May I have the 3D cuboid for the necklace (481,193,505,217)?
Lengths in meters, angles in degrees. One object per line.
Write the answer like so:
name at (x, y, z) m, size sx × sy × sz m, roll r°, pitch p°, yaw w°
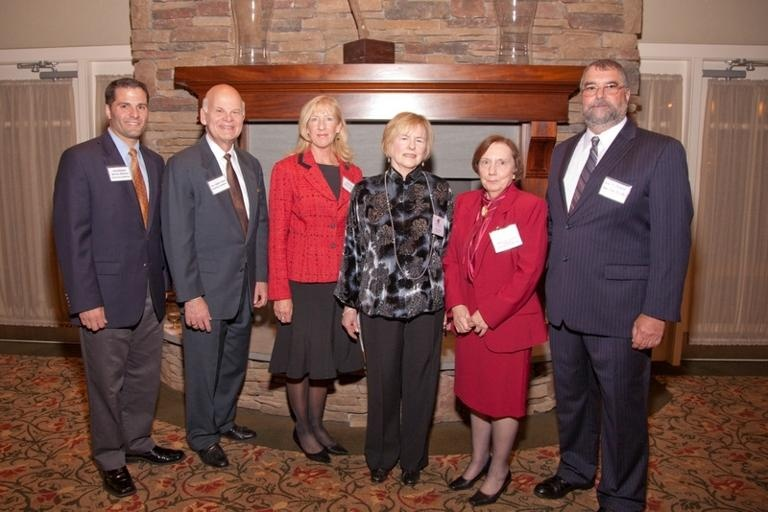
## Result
necklace at (0.683, -0.336, 3.688) m, size 0.118 × 0.127 × 0.149 m, roll -3°, pitch -6°, yaw 25°

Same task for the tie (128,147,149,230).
tie at (-1.664, -0.480, 3.968) m, size 0.088 × 0.675 × 0.068 m, roll -10°, pitch -14°, yaw -20°

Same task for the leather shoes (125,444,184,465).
leather shoes at (-1.606, 1.444, 4.138) m, size 0.421 × 0.167 × 0.154 m, roll -1°, pitch 0°, yaw -3°

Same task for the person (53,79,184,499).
person at (-1.759, 0.201, 3.934) m, size 0.697 × 2.774 × 0.608 m, roll -10°, pitch 16°, yaw -35°

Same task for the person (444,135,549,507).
person at (0.712, 0.433, 3.808) m, size 0.660 × 2.418 × 0.541 m, roll 1°, pitch 13°, yaw 8°

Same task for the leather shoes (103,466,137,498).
leather shoes at (-1.801, 1.535, 3.968) m, size 0.277 × 0.123 × 0.121 m, roll 12°, pitch 12°, yaw 40°

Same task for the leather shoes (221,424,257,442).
leather shoes at (-1.087, 1.367, 4.466) m, size 0.296 × 0.125 × 0.109 m, roll 0°, pitch 9°, yaw 4°

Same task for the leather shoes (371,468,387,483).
leather shoes at (-0.038, 1.518, 3.970) m, size 0.070 × 0.051 × 0.123 m, roll 1°, pitch 4°, yaw 1°

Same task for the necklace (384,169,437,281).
necklace at (0.193, -0.200, 3.842) m, size 0.385 × 0.678 × 0.250 m, roll -1°, pitch 13°, yaw 0°

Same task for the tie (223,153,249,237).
tie at (-1.033, -0.440, 4.064) m, size 0.102 × 0.742 × 0.058 m, roll -13°, pitch -25°, yaw -23°

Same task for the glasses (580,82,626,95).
glasses at (1.373, -1.069, 3.656) m, size 0.253 × 0.085 × 0.081 m, roll 4°, pitch 14°, yaw 18°

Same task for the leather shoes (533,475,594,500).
leather shoes at (1.234, 1.581, 3.992) m, size 0.434 × 0.175 × 0.160 m, roll 1°, pitch 3°, yaw -7°

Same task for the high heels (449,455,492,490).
high heels at (0.625, 1.536, 4.038) m, size 0.406 × 0.169 × 0.133 m, roll -11°, pitch 5°, yaw -21°

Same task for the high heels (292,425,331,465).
high heels at (-0.551, 1.398, 4.291) m, size 0.133 × 0.159 × 0.392 m, roll -2°, pitch 10°, yaw -44°

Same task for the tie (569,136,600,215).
tie at (1.271, -0.504, 3.687) m, size 0.058 × 0.597 × 0.070 m, roll 40°, pitch -20°, yaw -33°

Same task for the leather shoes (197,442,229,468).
leather shoes at (-1.204, 1.443, 4.131) m, size 0.127 × 0.089 × 0.228 m, roll -11°, pitch 22°, yaw -41°
